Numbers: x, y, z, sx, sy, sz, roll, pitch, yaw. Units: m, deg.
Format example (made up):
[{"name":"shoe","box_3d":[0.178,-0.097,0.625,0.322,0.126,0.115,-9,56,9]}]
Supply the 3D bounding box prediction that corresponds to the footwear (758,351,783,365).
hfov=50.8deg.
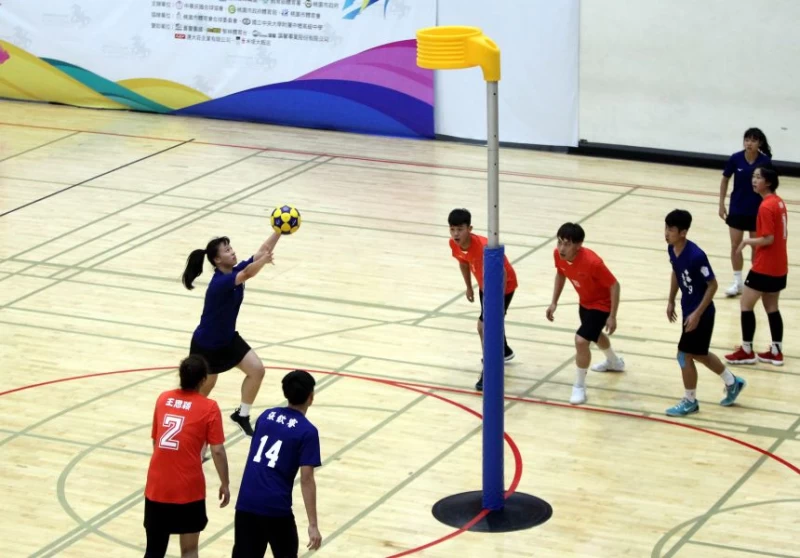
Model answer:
[{"name":"footwear","box_3d":[4.308,0.891,9.763,0.138,0.137,0.339,-6,14,-43]}]

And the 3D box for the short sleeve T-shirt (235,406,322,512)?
[{"name":"short sleeve T-shirt","box_3d":[-0.809,1.228,5.729,0.545,0.695,0.297,5,10,12]}]

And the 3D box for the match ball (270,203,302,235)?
[{"name":"match ball","box_3d":[-1.132,-0.575,8.348,0.238,0.293,0.558,2,9,-4]}]

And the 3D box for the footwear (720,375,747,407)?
[{"name":"footwear","box_3d":[3.528,1.180,8.918,0.224,0.401,0.167,7,32,-11]}]

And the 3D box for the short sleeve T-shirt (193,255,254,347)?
[{"name":"short sleeve T-shirt","box_3d":[-1.802,0.253,8.585,0.405,1.140,0.524,12,43,-20]}]

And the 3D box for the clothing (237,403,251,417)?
[{"name":"clothing","box_3d":[-1.546,1.287,8.371,0.158,0.123,0.123,-1,8,-19]}]

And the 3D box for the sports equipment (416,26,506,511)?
[{"name":"sports equipment","box_3d":[0.566,-0.020,7.091,0.927,4.114,0.429,6,10,15]}]

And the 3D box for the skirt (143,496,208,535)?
[{"name":"skirt","box_3d":[-1.609,1.677,6.033,0.523,0.310,0.256,1,51,-6]}]

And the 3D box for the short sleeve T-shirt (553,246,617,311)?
[{"name":"short sleeve T-shirt","box_3d":[1.971,-0.024,8.851,0.323,0.740,0.747,-41,37,-25]}]

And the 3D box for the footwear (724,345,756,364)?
[{"name":"footwear","box_3d":[3.944,0.887,9.750,0.418,0.172,0.161,2,3,-2]}]

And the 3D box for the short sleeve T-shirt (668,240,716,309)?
[{"name":"short sleeve T-shirt","box_3d":[2.913,-0.004,8.433,0.229,0.745,0.479,-1,10,-22]}]

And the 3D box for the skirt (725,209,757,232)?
[{"name":"skirt","box_3d":[4.627,-0.787,11.375,0.540,0.308,0.248,5,43,17]}]

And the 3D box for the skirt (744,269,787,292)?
[{"name":"skirt","box_3d":[4.216,0.042,9.631,0.470,0.260,0.279,0,11,3]}]

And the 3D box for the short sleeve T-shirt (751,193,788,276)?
[{"name":"short sleeve T-shirt","box_3d":[4.210,-0.488,9.447,0.361,0.926,0.289,7,10,20]}]

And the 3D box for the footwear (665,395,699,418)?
[{"name":"footwear","box_3d":[2.890,1.311,8.761,0.442,0.162,0.152,-8,21,-7]}]

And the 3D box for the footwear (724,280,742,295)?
[{"name":"footwear","box_3d":[4.516,0.144,11.456,0.319,0.182,0.112,-5,8,-28]}]

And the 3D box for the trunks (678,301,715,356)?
[{"name":"trunks","box_3d":[3.001,0.493,8.457,0.383,0.566,0.396,11,50,9]}]

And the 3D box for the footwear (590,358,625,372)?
[{"name":"footwear","box_3d":[2.409,0.973,9.666,0.449,0.162,0.148,1,10,9]}]

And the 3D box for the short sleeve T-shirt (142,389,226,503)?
[{"name":"short sleeve T-shirt","box_3d":[-1.542,1.187,6.030,0.525,0.779,0.303,2,10,-4]}]
